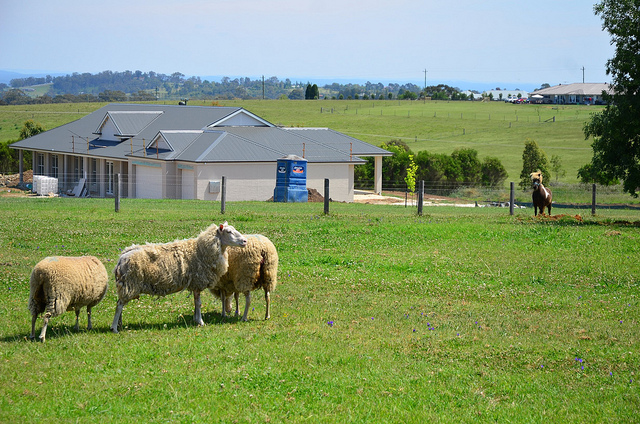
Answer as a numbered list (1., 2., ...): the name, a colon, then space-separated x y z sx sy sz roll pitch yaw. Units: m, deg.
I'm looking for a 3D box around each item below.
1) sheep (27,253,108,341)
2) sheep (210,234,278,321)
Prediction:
1. sheep: -7.632 2.510 25.187 1.592 2.522 3.336 4 4 25
2. sheep: -2.885 1.983 26.897 3.459 2.981 1.666 1 -1 43
